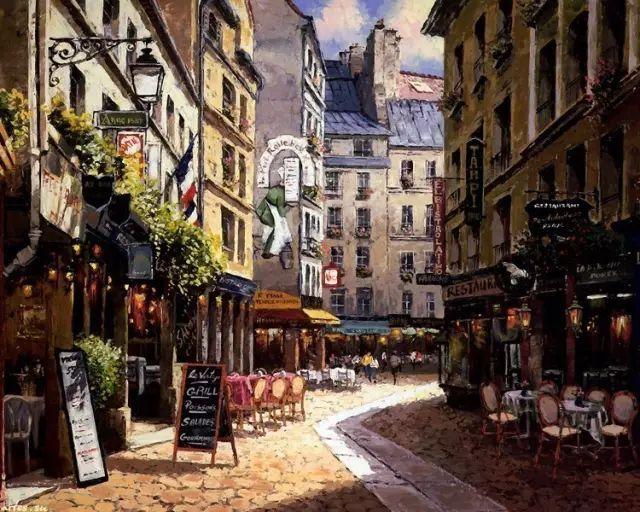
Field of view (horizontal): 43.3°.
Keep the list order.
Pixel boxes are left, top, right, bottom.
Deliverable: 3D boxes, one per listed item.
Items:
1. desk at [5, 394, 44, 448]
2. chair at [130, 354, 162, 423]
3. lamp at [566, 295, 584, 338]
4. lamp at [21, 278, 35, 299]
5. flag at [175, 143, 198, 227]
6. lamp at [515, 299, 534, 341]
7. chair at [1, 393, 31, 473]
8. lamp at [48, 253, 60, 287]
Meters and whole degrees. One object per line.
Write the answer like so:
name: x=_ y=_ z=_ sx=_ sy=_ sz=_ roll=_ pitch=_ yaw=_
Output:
desk: x=-5.159 y=2.792 z=13.985 sx=0.596 sy=1.298 sz=0.849 roll=1 pitch=8 yaw=-12
chair: x=-4.325 y=3.203 z=19.617 sx=0.761 sy=1.553 sz=1.013 roll=2 pitch=-12 yaw=-14
lamp: x=5.892 y=1.368 z=18.584 sx=0.341 sy=0.931 sz=0.821 roll=-4 pitch=-13 yaw=17
lamp: x=-5.907 y=0.630 z=16.233 sx=0.230 sy=0.354 sz=0.592 roll=4 pitch=9 yaw=-7
flag: x=-3.713 y=-2.320 z=22.317 sx=0.614 sy=2.989 sz=3.037 roll=1 pitch=-13 yaw=-9
lamp: x=5.237 y=1.586 z=20.558 sx=0.400 sy=1.001 sz=0.363 roll=-13 pitch=15 yaw=-40
chair: x=-5.152 y=3.016 z=13.677 sx=0.479 sy=1.311 sz=0.644 roll=4 pitch=-12 yaw=-21
lamp: x=-4.492 y=0.224 z=13.535 sx=0.248 sy=0.609 sz=0.078 roll=-8 pitch=-13 yaw=31
